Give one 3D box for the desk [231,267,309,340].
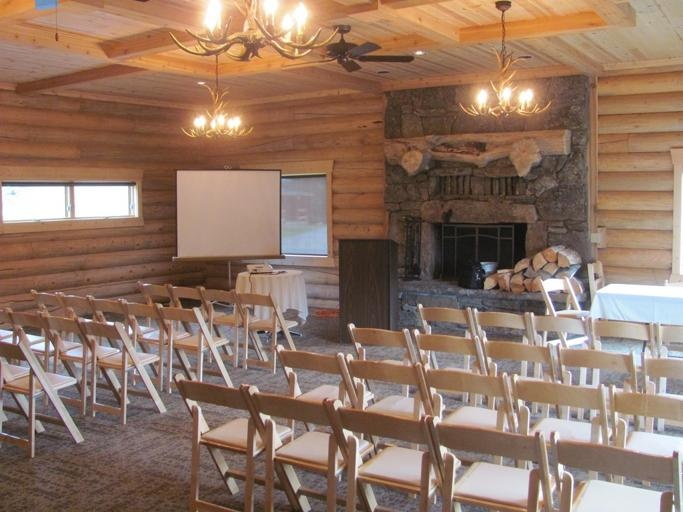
[{"bbox_3d":[-0.909,0.611,7.539,1.005,0.599,0.802,-1,4,5],"label":"desk"}]
